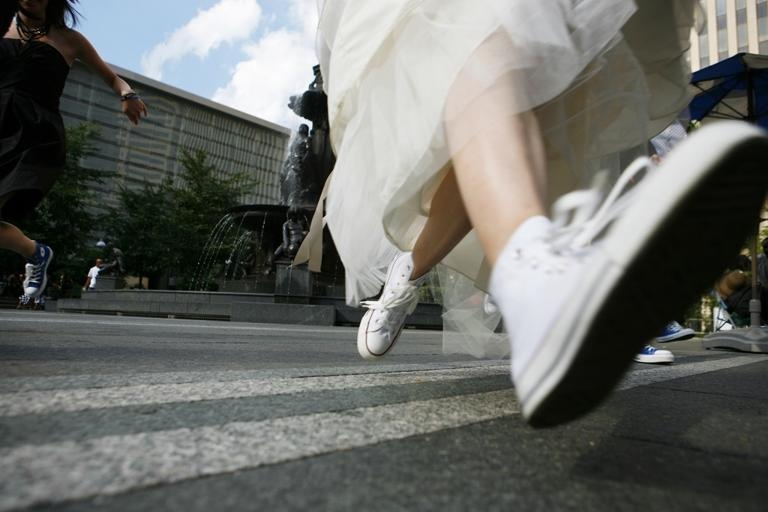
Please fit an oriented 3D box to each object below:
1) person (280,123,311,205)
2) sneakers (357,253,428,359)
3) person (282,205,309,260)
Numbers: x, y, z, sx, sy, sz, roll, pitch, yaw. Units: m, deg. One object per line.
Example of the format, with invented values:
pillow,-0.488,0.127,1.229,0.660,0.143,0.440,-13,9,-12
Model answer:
person,-2.043,-2.017,9.657,0.458,1.527,0.805,9,-5,-40
sneakers,0.074,0.161,1.640,0.190,0.468,0.173,40,-38,-22
person,-2.000,-0.386,9.657,0.540,1.292,0.378,-9,36,-19
